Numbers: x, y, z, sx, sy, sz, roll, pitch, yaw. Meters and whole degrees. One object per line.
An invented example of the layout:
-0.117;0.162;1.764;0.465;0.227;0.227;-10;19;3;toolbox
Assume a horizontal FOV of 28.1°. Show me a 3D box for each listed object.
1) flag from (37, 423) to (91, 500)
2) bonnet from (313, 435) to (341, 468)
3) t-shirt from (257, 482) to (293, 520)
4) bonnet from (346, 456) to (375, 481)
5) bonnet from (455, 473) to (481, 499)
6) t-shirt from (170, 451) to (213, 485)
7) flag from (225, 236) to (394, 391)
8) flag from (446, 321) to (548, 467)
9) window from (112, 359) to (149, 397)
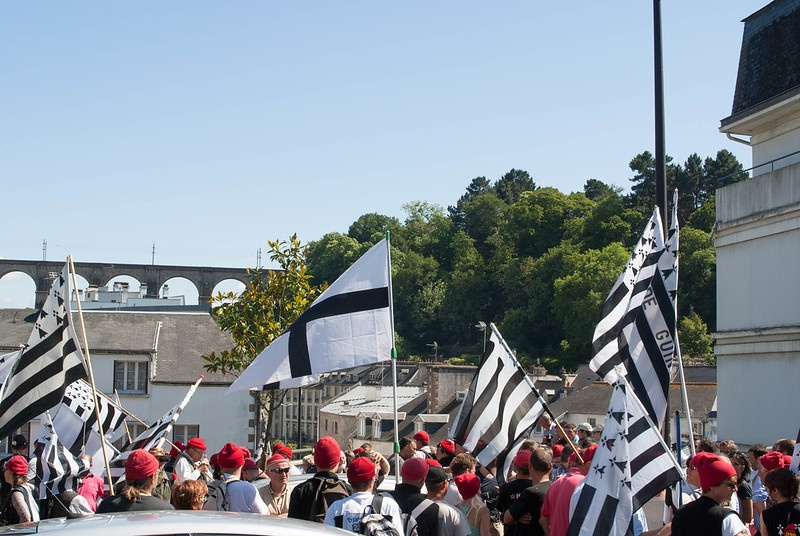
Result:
-8.017;4.705;38.244;0.235;2.079;1.529;-23;-23;35;flag
-1.632;4.082;36.042;0.462;0.448;0.712;-3;33;2;bonnet
-2.861;5.334;36.524;0.680;0.680;0.359;4;-21;-30;t-shirt
-0.860;4.451;35.188;0.425;0.362;0.580;7;29;7;bonnet
1.538;4.927;36.426;0.553;0.453;0.449;-19;36;-14;bonnet
-5.014;4.818;38.785;0.650;0.993;0.829;-16;-13;4;t-shirt
-1.674;1.025;37.500;3.053;3.437;0.313;0;-6;8;flag
2.373;3.019;38.610;2.553;4.212;0.393;-7;-35;19;flag
-10.203;4.206;60.650;1.517;1.503;0.120;0;-16;-8;window
